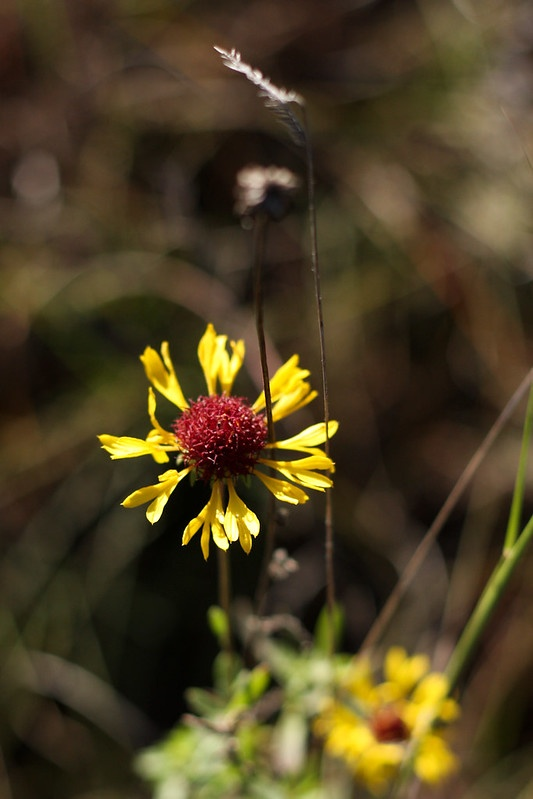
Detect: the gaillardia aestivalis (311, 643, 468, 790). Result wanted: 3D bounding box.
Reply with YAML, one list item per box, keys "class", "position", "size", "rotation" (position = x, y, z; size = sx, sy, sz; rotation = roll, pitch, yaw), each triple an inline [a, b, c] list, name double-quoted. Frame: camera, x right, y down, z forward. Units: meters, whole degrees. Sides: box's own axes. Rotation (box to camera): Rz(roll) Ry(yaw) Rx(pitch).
- class: "gaillardia aestivalis"
  position: [0.266, 0.698, 1.600]
  size: [0.310, 0.103, 0.283]
  rotation: [-16, 51, -15]

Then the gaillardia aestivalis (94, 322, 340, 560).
- class: "gaillardia aestivalis"
  position: [-0.094, 0.113, 1.798]
  size: [0.502, 0.223, 0.479]
  rotation: [6, 32, 11]
